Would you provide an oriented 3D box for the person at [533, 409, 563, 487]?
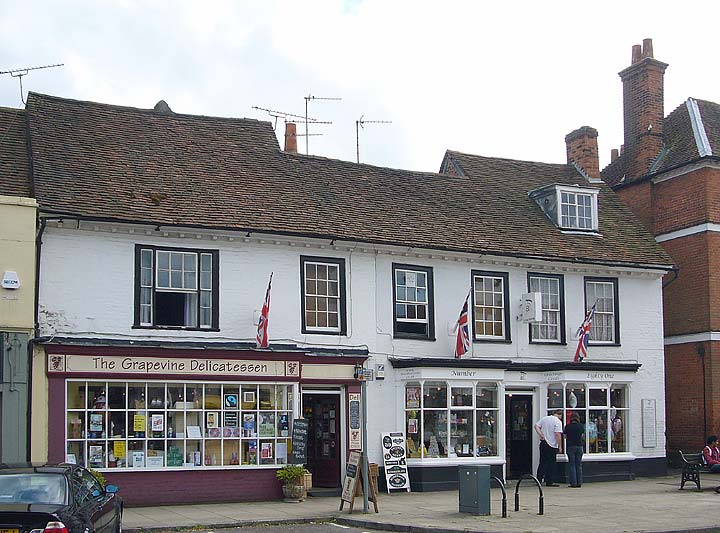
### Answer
[{"bbox_3d":[5.681,5.442,40.743,0.810,2.215,1.026,-2,-8,8],"label":"person"}]

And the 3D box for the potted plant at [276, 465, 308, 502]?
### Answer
[{"bbox_3d":[-1.866,6.024,37.715,1.075,1.012,0.857,1,-12,-7],"label":"potted plant"}]

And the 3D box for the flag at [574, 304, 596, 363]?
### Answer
[{"bbox_3d":[7.004,2.040,42.374,0.720,1.876,1.130,-2,-8,8],"label":"flag"}]

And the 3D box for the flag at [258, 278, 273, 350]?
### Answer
[{"bbox_3d":[-2.644,1.149,38.101,0.418,2.181,1.167,0,-8,-3],"label":"flag"}]

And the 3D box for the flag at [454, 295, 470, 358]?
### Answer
[{"bbox_3d":[3.068,1.696,40.525,0.489,1.983,1.081,-1,-8,4],"label":"flag"}]

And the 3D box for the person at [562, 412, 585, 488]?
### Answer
[{"bbox_3d":[6.425,5.473,40.648,0.574,2.227,1.209,-2,-8,9],"label":"person"}]
